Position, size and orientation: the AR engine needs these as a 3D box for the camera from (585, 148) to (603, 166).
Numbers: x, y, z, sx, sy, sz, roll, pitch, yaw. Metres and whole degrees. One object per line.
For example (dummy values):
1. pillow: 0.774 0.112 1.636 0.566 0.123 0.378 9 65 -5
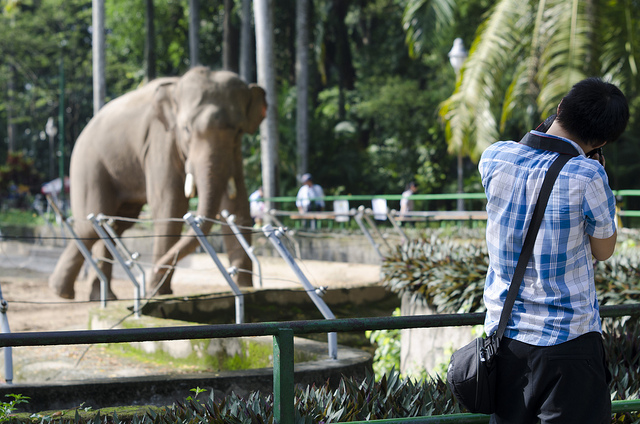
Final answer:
1. camera: 5.965 -1.199 33.956 0.469 0.377 0.258 -2 3 -39

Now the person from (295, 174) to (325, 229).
1. person: -0.259 -0.457 48.357 0.700 1.928 0.702 -1 -1 43
